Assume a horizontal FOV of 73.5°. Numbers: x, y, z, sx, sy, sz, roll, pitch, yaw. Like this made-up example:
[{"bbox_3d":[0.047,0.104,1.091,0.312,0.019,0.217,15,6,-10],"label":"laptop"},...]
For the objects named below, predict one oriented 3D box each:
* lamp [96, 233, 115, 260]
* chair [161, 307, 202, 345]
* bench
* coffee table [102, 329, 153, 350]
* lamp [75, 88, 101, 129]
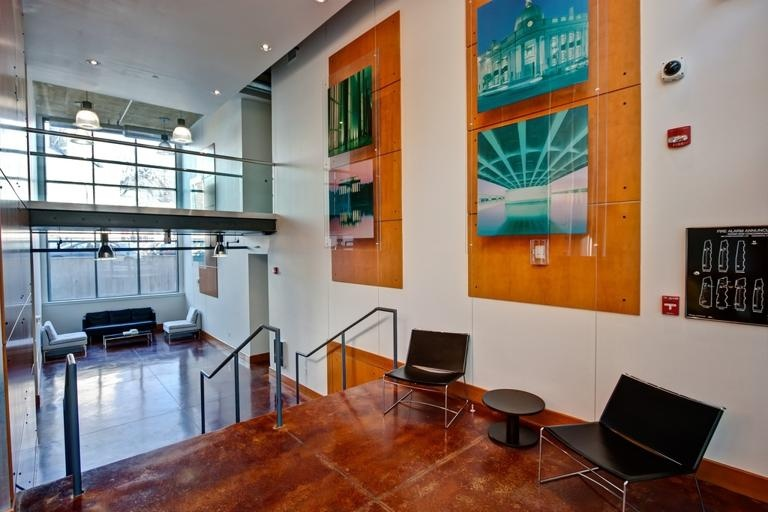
[{"bbox_3d":[-5.388,-0.198,9.927,0.268,0.484,0.639,-3,2,-28],"label":"lamp"},{"bbox_3d":[-5.709,1.944,14.556,0.909,0.933,0.943,2,-3,-37],"label":"chair"},{"bbox_3d":[2.838,2.048,5.778,1.462,1.236,0.963,-2,2,-16],"label":"bench"},{"bbox_3d":[-6.902,2.182,13.887,1.202,0.267,1.017,-3,2,-29],"label":"coffee table"},{"bbox_3d":[-4.917,-2.423,8.551,0.339,0.610,0.414,10,9,33],"label":"lamp"}]
